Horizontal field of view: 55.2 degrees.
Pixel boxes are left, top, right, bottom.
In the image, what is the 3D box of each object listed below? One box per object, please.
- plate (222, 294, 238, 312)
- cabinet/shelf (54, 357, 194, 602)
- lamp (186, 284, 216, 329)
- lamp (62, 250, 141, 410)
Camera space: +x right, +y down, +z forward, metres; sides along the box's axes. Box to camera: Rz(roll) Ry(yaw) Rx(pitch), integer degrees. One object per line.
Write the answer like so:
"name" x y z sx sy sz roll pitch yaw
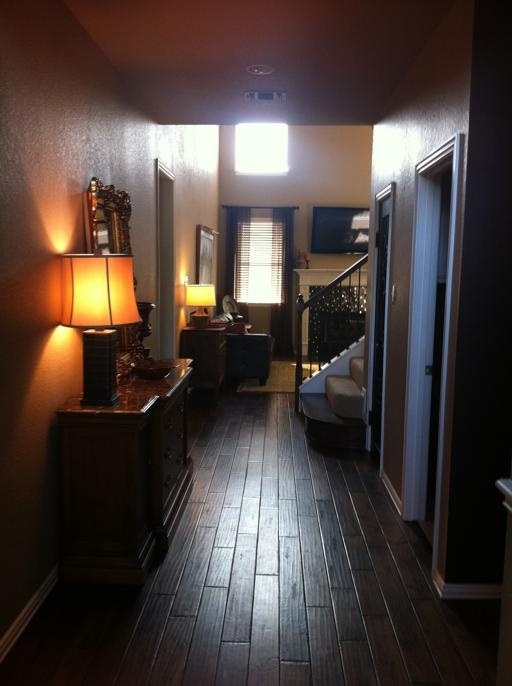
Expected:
"plate" -0.437 -0.665 8.671 0.221 0.345 0.775 1 4 10
"cabinet/shelf" -0.622 0.620 2.430 0.408 0.792 0.898 1 3 5
"lamp" -0.644 -0.454 5.789 0.260 0.540 0.289 -7 13 -29
"lamp" -0.673 -0.063 2.142 0.312 0.654 0.322 1 3 -1
